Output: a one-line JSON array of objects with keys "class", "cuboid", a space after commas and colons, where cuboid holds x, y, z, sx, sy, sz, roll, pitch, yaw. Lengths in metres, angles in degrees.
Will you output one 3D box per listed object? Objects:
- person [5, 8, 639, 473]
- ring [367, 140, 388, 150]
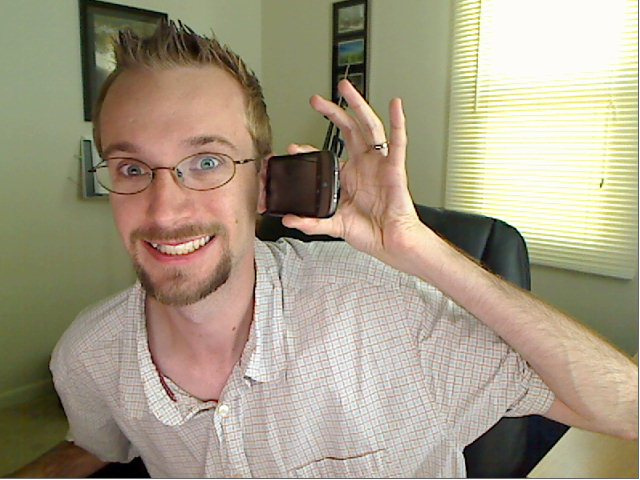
[{"class": "person", "cuboid": [-0.067, 0.068, 1.573, 1.692, 1.399, 0.465, -1, 19, 6]}, {"class": "ring", "cuboid": [0.161, -0.266, 1.480, 0.053, 0.023, 0.050, -2, 19, 1]}]
